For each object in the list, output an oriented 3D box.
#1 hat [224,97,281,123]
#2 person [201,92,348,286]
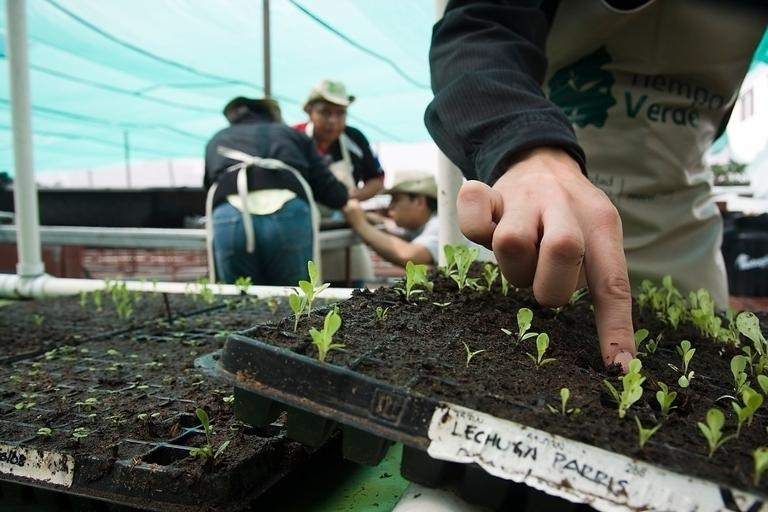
[{"bbox_3d":[-0.840,-0.940,3.949,0.228,0.112,0.179,-13,1,-15],"label":"hat"},{"bbox_3d":[-0.717,-0.333,3.989,0.853,1.024,0.490,-2,1,-25],"label":"person"}]
